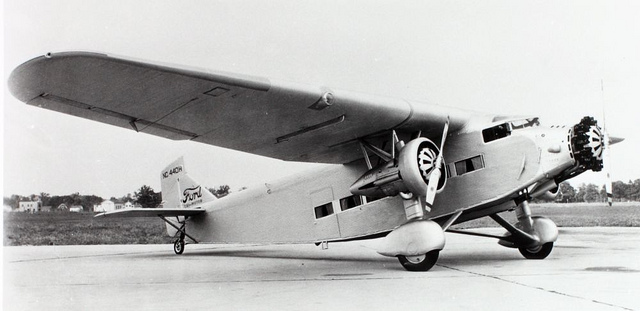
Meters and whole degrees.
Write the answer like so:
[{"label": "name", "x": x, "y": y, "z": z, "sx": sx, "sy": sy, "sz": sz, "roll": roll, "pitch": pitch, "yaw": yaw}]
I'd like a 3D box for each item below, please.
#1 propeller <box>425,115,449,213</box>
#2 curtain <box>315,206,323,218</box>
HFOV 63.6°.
[{"label": "propeller", "x": 3.390, "y": 0.168, "z": 14.528, "sx": 0.452, "sy": 3.088, "sz": 0.278, "roll": 17, "pitch": -24, "yaw": 15}, {"label": "curtain", "x": -0.031, "y": 1.766, "z": 16.252, "sx": 0.368, "sy": 0.280, "sz": 0.094, "roll": -3, "pitch": 0, "yaw": 25}]
